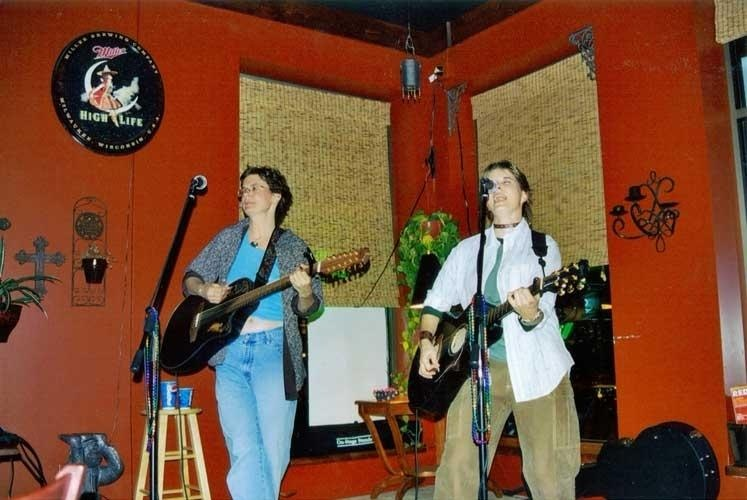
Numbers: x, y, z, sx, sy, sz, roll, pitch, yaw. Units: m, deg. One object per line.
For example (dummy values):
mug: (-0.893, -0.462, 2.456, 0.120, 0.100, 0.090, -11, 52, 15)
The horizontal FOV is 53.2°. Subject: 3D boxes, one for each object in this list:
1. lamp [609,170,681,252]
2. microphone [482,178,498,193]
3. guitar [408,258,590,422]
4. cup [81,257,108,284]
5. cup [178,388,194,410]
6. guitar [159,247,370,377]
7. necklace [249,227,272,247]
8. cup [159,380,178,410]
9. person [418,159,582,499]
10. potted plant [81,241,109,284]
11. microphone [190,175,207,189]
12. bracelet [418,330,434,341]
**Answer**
lamp: (2.083, -0.333, 5.744, 0.535, 0.639, 0.374, -8, -9, 37)
microphone: (0.662, -0.385, 4.270, 0.065, 0.092, 0.069, 0, 34, -12)
guitar: (0.792, 0.564, 4.542, 0.156, 0.547, 1.243, 25, -43, -29)
cup: (-2.169, 0.149, 5.810, 0.195, 0.194, 0.197, 0, 2, 0)
cup: (-1.405, 1.143, 5.738, 0.133, 0.143, 0.137, -1, -9, 0)
guitar: (-0.763, 0.497, 5.008, 1.634, 0.651, 0.187, -25, -30, 21)
necklace: (-0.767, -0.073, 5.011, 0.100, 0.058, 0.140, 8, -41, -2)
cup: (-1.544, 1.089, 5.629, 0.118, 0.208, 0.169, 0, -8, -16)
person: (0.720, 0.442, 4.445, 0.865, 2.055, 0.584, -5, -8, 15)
potted plant: (-2.192, 0.094, 5.878, 0.196, 0.290, 0.193, 6, -11, -37)
microphone: (-1.066, -0.427, 4.583, 0.079, 0.094, 0.136, -2, -8, -5)
bracelet: (0.318, 0.529, 4.639, 0.057, 0.061, 0.071, 2, 0, -20)
